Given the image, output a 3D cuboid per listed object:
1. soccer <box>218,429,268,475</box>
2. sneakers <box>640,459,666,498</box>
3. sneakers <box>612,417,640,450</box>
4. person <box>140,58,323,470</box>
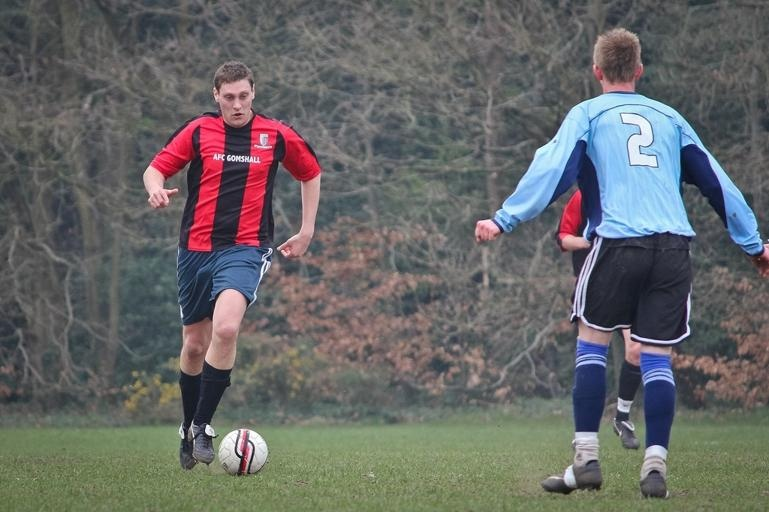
[{"bbox_3d":[-1.293,1.810,15.974,0.441,0.385,0.230,-2,12,-7],"label":"soccer"},{"bbox_3d":[2.372,1.956,15.368,0.238,0.345,0.175,1,12,8],"label":"sneakers"},{"bbox_3d":[2.396,1.765,17.175,0.156,0.157,0.378,-11,39,-20],"label":"sneakers"},{"bbox_3d":[-1.524,0.042,16.400,0.991,3.699,1.532,10,17,41],"label":"person"}]
